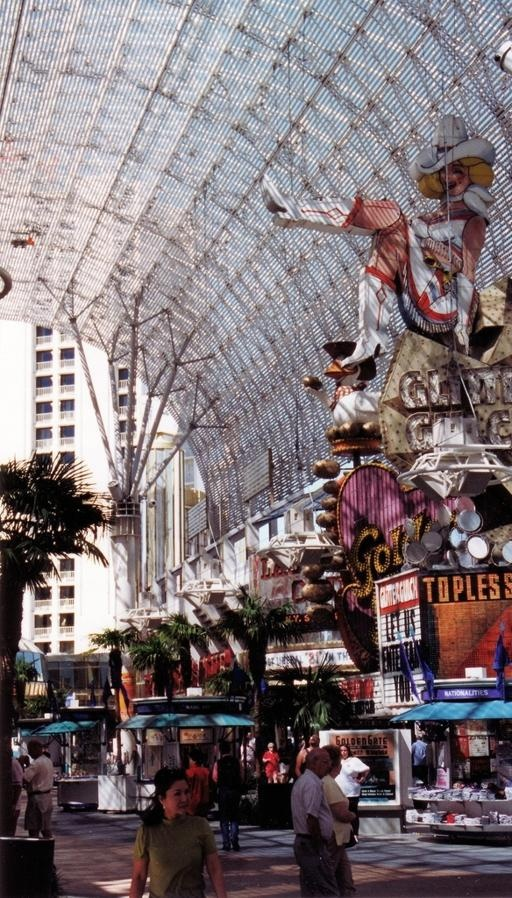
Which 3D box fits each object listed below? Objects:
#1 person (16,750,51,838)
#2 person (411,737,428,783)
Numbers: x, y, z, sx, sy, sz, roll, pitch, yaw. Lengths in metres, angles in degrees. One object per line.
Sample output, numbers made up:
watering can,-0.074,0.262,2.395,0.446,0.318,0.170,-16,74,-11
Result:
person,-2.881,4.470,14.479,0.371,1.262,0.924,-2,-11,-12
person,3.668,6.875,24.163,0.379,0.912,1.678,-6,-11,7
